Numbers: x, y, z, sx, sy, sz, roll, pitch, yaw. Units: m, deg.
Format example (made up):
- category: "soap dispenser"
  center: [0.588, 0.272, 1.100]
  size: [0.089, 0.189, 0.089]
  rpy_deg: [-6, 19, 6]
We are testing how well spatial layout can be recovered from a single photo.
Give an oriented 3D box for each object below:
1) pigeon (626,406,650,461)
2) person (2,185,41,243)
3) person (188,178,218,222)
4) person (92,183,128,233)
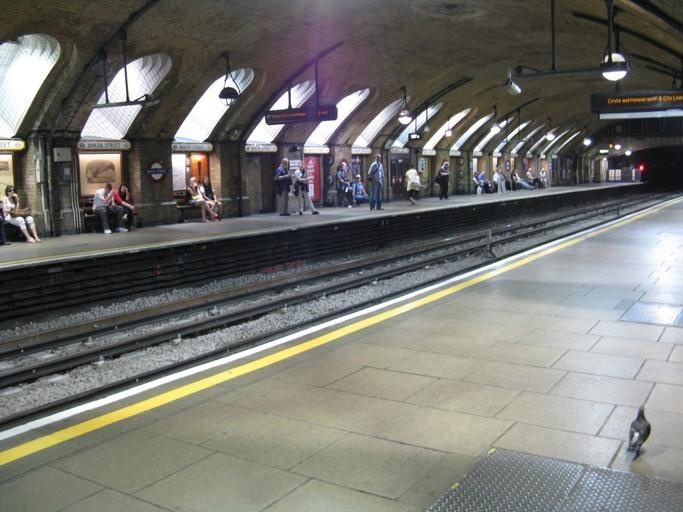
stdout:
- category: "pigeon"
  center: [2.302, 1.324, 3.788]
  size: [0.147, 0.373, 0.310]
  rpy_deg: [0, 7, 30]
- category: "person"
  center: [-8.939, -1.165, 13.734]
  size: [0.992, 1.575, 0.719]
  rpy_deg: [0, 7, 30]
- category: "person"
  center: [-5.374, -2.093, 18.347]
  size: [1.213, 1.640, 0.983]
  rpy_deg: [1, 8, 37]
- category: "person"
  center: [-7.326, -1.485, 15.527]
  size: [0.884, 1.496, 0.712]
  rpy_deg: [-8, 8, -36]
